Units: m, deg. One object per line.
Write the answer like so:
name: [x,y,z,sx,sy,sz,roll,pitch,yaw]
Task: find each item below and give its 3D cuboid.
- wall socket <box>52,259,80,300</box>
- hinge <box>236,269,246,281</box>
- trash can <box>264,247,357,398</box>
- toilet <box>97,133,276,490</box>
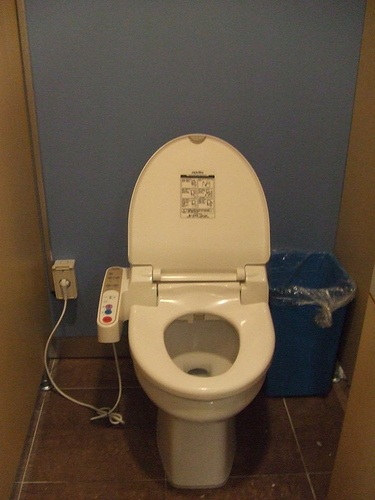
wall socket: [-0.429,0.108,1.626,0.072,0.147,0.067,-1,27,1]
hinge: [0.147,0.068,1.279,0.027,0.035,0.025,-2,11,-4]
trash can: [0.399,0.252,1.586,0.271,0.449,0.287,3,27,9]
toilet: [-0.017,0.104,1.163,0.475,0.698,0.483,0,27,3]
